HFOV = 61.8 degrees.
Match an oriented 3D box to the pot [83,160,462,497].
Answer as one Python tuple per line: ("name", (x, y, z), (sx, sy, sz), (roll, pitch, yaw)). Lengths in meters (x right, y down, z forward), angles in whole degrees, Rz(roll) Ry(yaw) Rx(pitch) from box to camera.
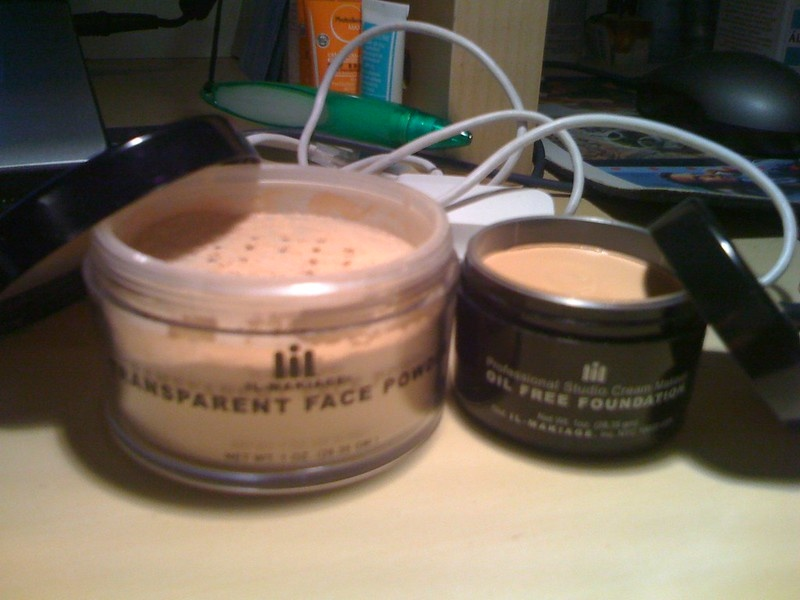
("pot", (-0.060, 0.001, 0.344), (0.173, 0.098, 0.164), (4, 28, -2))

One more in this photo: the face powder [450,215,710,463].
("face powder", (0.093, 0.009, 0.349), (0.131, 0.085, 0.126), (-15, 33, -21))

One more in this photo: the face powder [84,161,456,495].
("face powder", (-0.058, 0.026, 0.341), (0.174, 0.097, 0.164), (5, 27, 3))

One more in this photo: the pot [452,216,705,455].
("pot", (0.080, 0.031, 0.376), (0.127, 0.081, 0.120), (0, 28, 0))
